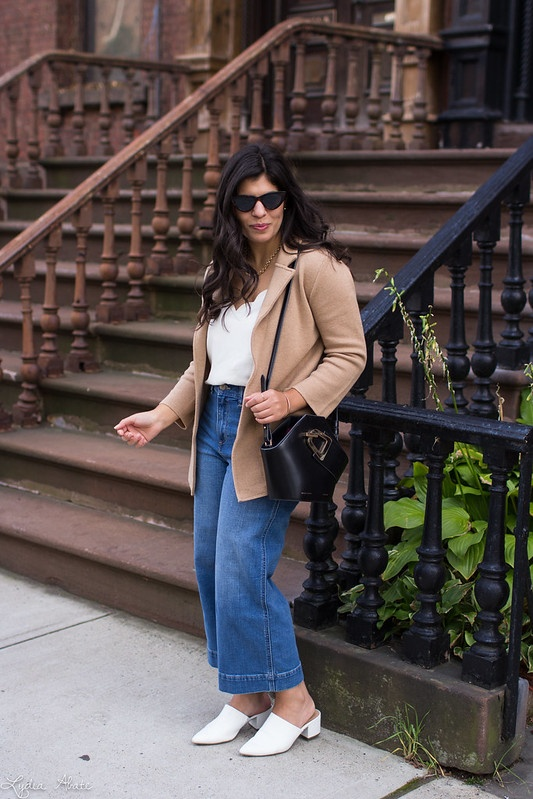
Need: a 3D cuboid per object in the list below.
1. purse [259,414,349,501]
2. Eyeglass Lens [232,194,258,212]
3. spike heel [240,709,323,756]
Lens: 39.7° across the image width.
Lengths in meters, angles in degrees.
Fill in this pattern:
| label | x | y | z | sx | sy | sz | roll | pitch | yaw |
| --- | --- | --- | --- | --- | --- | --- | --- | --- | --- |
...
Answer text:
| label | x | y | z | sx | sy | sz | roll | pitch | yaw |
| --- | --- | --- | --- | --- | --- | --- | --- | --- | --- |
| purse | 0.085 | 0.134 | 1.799 | 0.238 | 0.207 | 0.167 | -2 | 2 | -23 |
| Eyeglass Lens | -0.059 | -0.457 | 1.728 | 0.037 | 0.041 | 0.088 | -4 | 5 | -31 |
| spike heel | 0.054 | 0.870 | 2.002 | 0.245 | 0.083 | 0.086 | -10 | 9 | -39 |
